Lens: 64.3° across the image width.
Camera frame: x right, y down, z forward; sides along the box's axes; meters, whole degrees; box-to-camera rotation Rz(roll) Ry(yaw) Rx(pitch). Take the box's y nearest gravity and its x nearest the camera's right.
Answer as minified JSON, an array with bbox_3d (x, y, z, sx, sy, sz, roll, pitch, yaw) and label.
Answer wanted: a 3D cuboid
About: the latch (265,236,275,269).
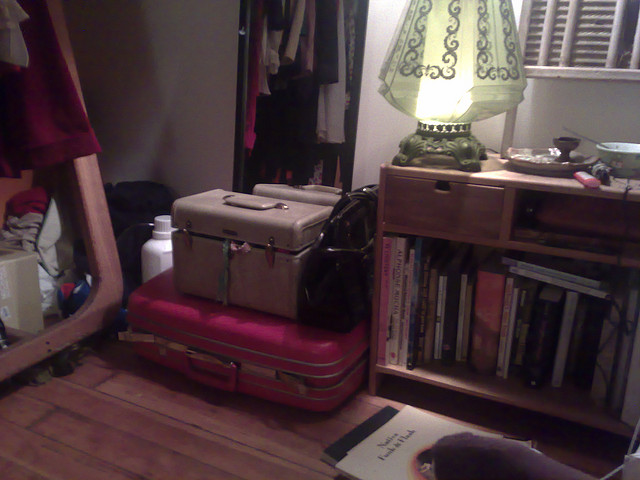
[{"bbox_3d":[-0.157,0.042,1.668,0.028,0.105,0.021,22,28,39],"label":"latch"}]

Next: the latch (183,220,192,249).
[{"bbox_3d":[-0.455,-0.016,1.764,0.023,0.081,0.056,3,6,-12],"label":"latch"}]

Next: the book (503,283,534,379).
[{"bbox_3d":[0.637,0.280,1.634,0.036,0.378,0.190,12,26,20],"label":"book"}]

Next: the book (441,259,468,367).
[{"bbox_3d":[0.445,0.233,1.689,0.043,0.268,0.299,5,18,20],"label":"book"}]

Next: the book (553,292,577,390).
[{"bbox_3d":[0.774,0.322,1.607,0.057,0.323,0.063,12,24,22],"label":"book"}]

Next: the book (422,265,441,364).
[{"bbox_3d":[0.370,0.234,1.696,0.045,0.330,0.287,9,-7,14],"label":"book"}]

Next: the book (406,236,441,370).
[{"bbox_3d":[0.340,0.203,1.687,0.051,0.408,0.353,6,17,18],"label":"book"}]

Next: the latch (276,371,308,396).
[{"bbox_3d":[-0.085,0.457,1.630,0.065,0.025,0.083,19,-10,-41],"label":"latch"}]

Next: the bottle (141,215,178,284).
[{"bbox_3d":[-0.665,0.062,2.100,0.137,0.276,0.239,-5,23,-20],"label":"bottle"}]

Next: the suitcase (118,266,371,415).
[{"bbox_3d":[-0.244,0.286,1.965,0.856,0.266,0.662,9,29,18],"label":"suitcase"}]

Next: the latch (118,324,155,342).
[{"bbox_3d":[-0.655,0.344,1.822,0.098,0.027,0.073,4,2,-17],"label":"latch"}]

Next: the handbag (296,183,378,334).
[{"bbox_3d":[0.112,0.034,1.813,0.205,0.462,0.495,8,17,17],"label":"handbag"}]

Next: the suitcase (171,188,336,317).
[{"bbox_3d":[-0.231,0.041,1.872,0.528,0.374,0.389,8,15,22],"label":"suitcase"}]

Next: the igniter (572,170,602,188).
[{"bbox_3d":[0.764,-0.177,1.465,0.037,0.018,0.072,-5,19,3],"label":"igniter"}]

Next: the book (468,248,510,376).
[{"bbox_3d":[0.552,0.254,1.659,0.110,0.344,0.328,6,19,21],"label":"book"}]
